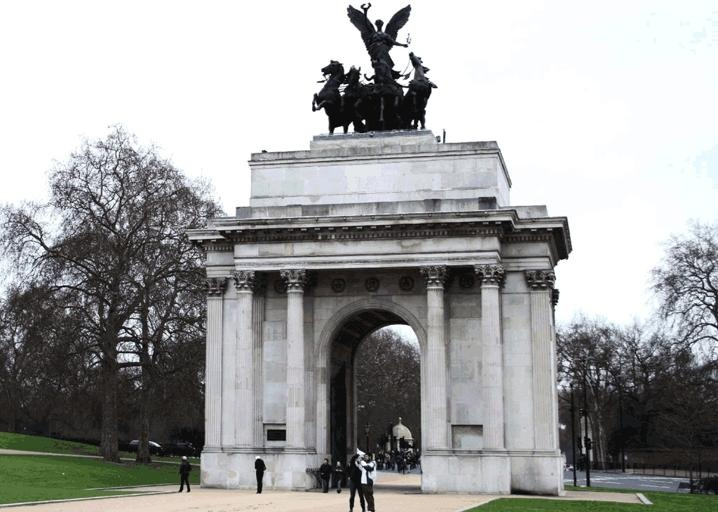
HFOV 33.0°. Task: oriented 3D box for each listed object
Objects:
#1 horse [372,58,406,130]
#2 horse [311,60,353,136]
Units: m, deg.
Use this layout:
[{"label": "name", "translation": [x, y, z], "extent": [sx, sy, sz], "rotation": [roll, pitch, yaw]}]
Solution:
[{"label": "horse", "translation": [1.707, -10.363, 75.230], "extent": [1.812, 4.912, 1.539], "rotation": [12, -18, -38]}, {"label": "horse", "translation": [-1.662, -10.187, 75.994], "extent": [1.238, 4.523, 3.703], "rotation": [14, 8, 28]}]
